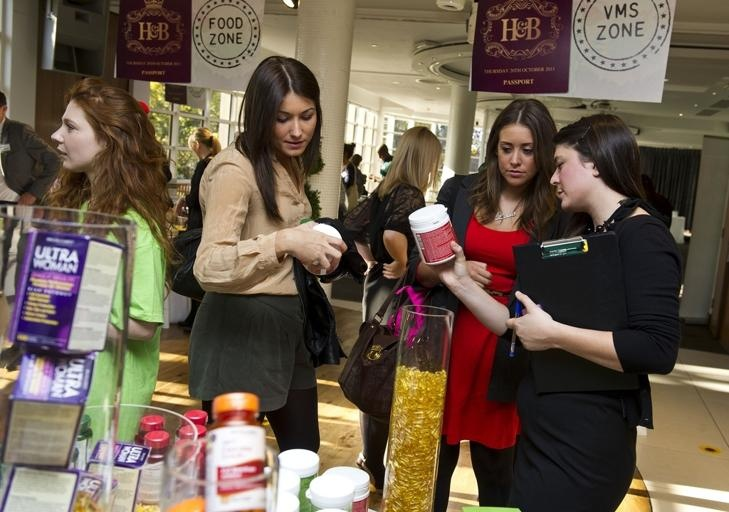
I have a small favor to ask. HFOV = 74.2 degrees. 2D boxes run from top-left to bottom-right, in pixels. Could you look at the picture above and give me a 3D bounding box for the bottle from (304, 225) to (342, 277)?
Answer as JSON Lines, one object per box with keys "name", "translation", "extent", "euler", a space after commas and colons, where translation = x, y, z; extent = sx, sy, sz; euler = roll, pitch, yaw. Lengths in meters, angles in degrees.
{"name": "bottle", "translation": [-0.123, -0.014, 1.510], "extent": [0.093, 0.178, 0.166], "euler": [3, 7, -4]}
